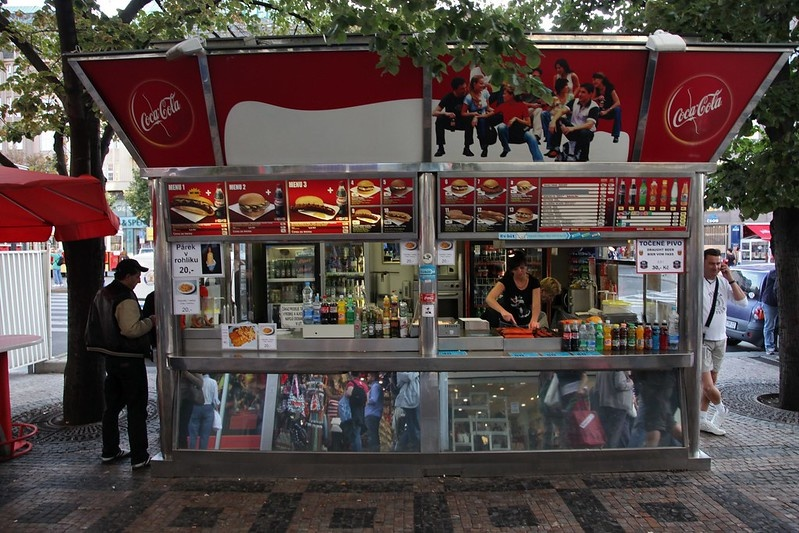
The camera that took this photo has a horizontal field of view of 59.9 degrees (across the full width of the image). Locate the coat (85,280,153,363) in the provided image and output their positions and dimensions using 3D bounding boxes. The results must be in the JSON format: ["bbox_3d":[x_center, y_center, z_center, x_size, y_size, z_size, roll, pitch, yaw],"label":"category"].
[{"bbox_3d":[-4.062,0.751,9.888,1.117,0.939,0.611,-8,-5,38],"label":"coat"}]

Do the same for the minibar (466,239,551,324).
[{"bbox_3d":[2.153,0.663,14.113,1.606,2.356,0.746,2,-35,3],"label":"minibar"}]

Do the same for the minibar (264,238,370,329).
[{"bbox_3d":[-1.515,0.303,11.685,1.446,1.405,0.556,0,-4,-5],"label":"minibar"}]

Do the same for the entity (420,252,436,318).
[{"bbox_3d":[0.393,0.277,9.506,0.233,0.888,0.186,-2,2,-3],"label":"entity"}]

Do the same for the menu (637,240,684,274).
[{"bbox_3d":[3.676,-0.136,9.645,0.465,0.343,0.064,0,1,4],"label":"menu"}]
